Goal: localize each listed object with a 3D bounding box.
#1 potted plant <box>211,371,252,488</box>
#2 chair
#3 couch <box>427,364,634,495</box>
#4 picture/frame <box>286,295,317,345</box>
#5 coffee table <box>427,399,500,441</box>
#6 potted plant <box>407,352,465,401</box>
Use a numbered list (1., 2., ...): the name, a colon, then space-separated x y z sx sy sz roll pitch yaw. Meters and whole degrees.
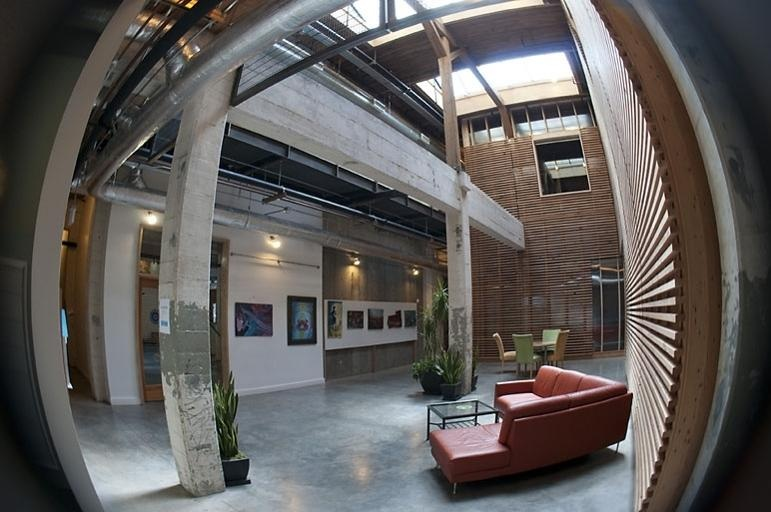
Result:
1. potted plant: -1.925 1.955 6.490 0.414 1.111 1.995 0 -4 -17
2. chair: 3.548 2.616 12.561 1.688 0.882 1.660 -3 -6 10
3. couch: 1.747 1.952 6.098 2.696 0.893 1.767 -4 2 -45
4. picture/frame: -2.035 1.521 12.264 0.123 1.260 1.108 -8 -10 33
5. coffee table: 1.022 2.230 6.949 0.824 0.417 0.589 1 0 -24
6. potted plant: 1.095 2.335 10.302 0.878 0.784 0.870 -5 -14 19
